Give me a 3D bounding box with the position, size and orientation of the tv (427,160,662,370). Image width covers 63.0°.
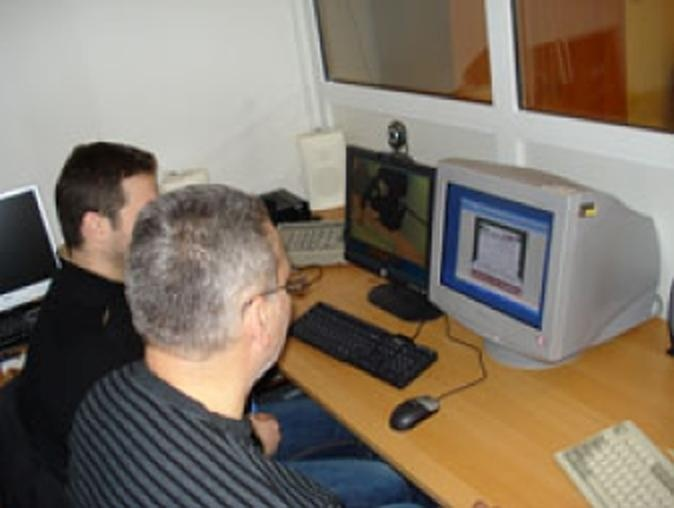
[{"bbox_3d":[0.629,0.007,1.910,0.657,0.679,0.651,-22,24,-27],"label":"tv"}]

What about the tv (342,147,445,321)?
[{"bbox_3d":[0.212,-0.061,2.032,0.199,0.532,0.507,-13,22,-36],"label":"tv"}]
